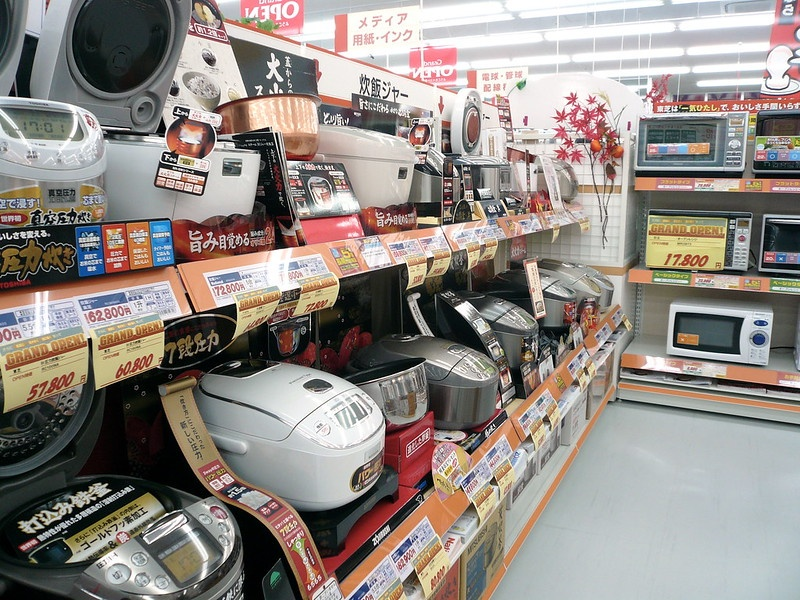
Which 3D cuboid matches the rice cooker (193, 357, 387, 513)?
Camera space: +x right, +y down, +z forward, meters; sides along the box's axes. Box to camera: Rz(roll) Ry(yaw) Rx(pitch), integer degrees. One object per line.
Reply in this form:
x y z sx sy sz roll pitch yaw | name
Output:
-0.286 0.297 1.175 0.472 0.269 0.363 6 10 21 | rice cooker

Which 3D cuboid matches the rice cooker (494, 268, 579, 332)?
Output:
0.662 -0.035 2.519 0.430 0.241 0.298 14 27 32 | rice cooker

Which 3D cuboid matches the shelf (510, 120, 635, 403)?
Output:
1.902 -0.717 4.626 1.261 2.521 1.223 3 9 30 | shelf

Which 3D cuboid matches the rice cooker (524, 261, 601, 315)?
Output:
1.005 -0.152 2.986 0.275 0.181 0.510 -13 24 -36 | rice cooker

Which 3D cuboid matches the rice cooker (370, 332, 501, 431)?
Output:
0.075 0.267 1.769 0.535 0.299 0.289 9 13 31 | rice cooker

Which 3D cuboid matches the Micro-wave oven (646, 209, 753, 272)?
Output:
2.176 -0.383 3.635 0.689 0.494 0.398 6 -8 21 | Micro-wave oven

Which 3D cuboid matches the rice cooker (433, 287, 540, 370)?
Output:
0.384 0.114 2.194 0.423 0.280 0.260 9 15 33 | rice cooker
